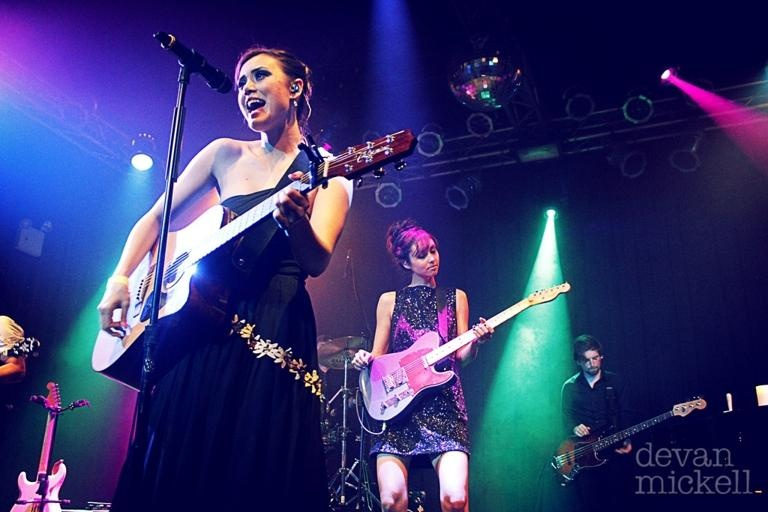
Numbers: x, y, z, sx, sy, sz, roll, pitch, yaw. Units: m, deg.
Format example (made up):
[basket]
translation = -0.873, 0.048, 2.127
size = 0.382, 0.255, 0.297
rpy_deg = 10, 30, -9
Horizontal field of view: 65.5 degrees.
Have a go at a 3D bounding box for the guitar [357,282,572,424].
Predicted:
[guitar]
translation = 1.307, 1.462, 8.505
size = 2.658, 0.884, 0.393
rpy_deg = -34, -39, -9
